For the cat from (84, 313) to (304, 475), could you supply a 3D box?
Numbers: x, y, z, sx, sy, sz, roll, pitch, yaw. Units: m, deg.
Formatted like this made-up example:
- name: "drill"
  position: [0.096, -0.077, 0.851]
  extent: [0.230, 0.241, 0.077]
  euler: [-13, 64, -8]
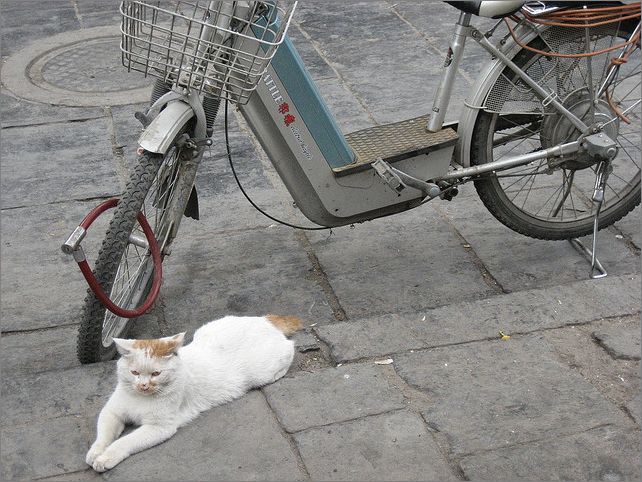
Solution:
- name: "cat"
  position: [-0.590, 0.575, 2.948]
  extent: [1.126, 0.381, 0.412]
  euler: [-26, 27, -34]
